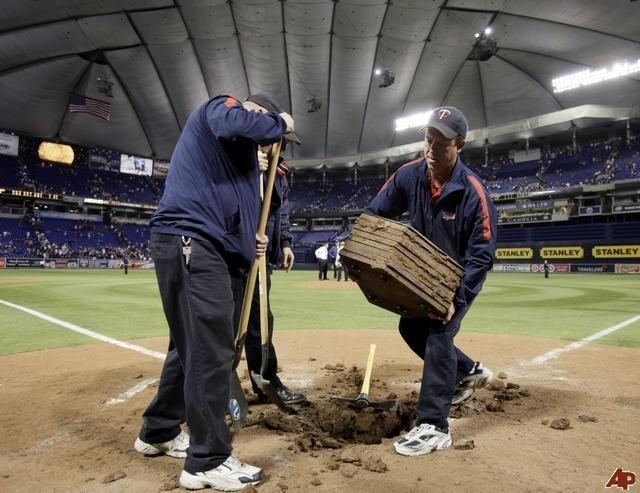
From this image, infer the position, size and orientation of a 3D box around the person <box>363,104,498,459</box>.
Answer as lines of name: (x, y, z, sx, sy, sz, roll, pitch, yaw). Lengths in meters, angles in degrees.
person: (1.052, 0.204, 4.147, 0.973, 2.890, 0.949, -1, 3, -15)

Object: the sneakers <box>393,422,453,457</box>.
sneakers: (0.824, 1.570, 3.792, 0.546, 0.198, 0.186, 0, -4, -16)

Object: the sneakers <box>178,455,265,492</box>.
sneakers: (-0.685, 1.644, 3.389, 0.611, 0.256, 0.222, 0, -13, -2)

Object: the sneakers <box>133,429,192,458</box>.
sneakers: (-1.207, 1.581, 3.797, 0.565, 0.225, 0.209, 1, -2, -9)

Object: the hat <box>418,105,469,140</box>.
hat: (1.165, -1.061, 4.140, 0.280, 0.184, 0.390, 25, 7, 36)

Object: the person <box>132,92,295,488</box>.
person: (-0.807, 0.259, 3.518, 1.094, 2.983, 0.769, -1, 3, -19)

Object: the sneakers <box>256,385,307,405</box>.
sneakers: (-0.319, 1.495, 4.591, 0.598, 0.200, 0.205, -1, -2, 3)
